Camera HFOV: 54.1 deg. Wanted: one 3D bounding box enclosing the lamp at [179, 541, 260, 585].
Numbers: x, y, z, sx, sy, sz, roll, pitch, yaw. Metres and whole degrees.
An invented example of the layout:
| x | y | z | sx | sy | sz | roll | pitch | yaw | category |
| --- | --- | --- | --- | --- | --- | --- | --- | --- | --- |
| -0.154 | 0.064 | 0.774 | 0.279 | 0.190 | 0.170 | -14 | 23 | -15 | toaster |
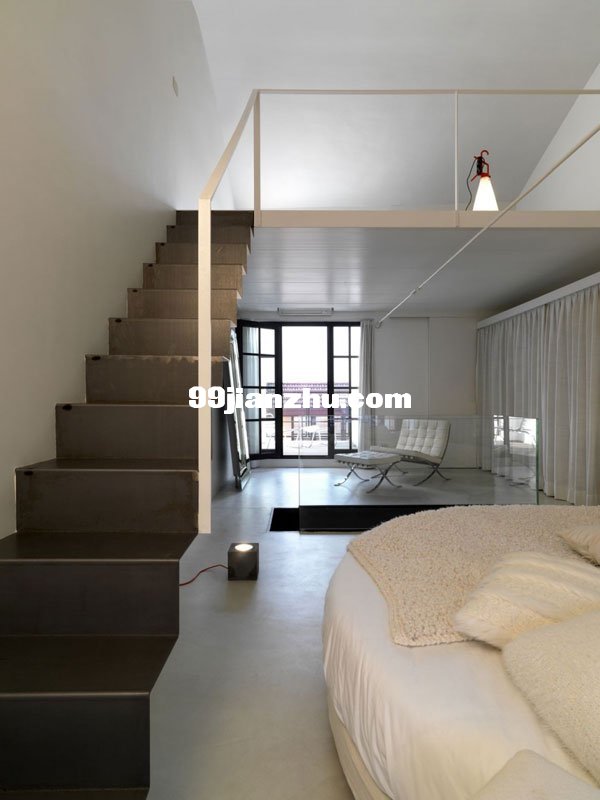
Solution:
| x | y | z | sx | sy | sz | roll | pitch | yaw | category |
| --- | --- | --- | --- | --- | --- | --- | --- | --- | --- |
| -0.438 | 0.924 | 3.440 | 0.356 | 0.191 | 0.224 | -1 | 5 | -2 | lamp |

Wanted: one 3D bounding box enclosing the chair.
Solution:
| x | y | z | sx | sy | sz | roll | pitch | yaw | category |
| --- | --- | --- | --- | --- | --- | --- | --- | --- | --- |
| 0.797 | 0.363 | 4.940 | 0.828 | 0.633 | 0.531 | -2 | 1 | -40 | chair |
